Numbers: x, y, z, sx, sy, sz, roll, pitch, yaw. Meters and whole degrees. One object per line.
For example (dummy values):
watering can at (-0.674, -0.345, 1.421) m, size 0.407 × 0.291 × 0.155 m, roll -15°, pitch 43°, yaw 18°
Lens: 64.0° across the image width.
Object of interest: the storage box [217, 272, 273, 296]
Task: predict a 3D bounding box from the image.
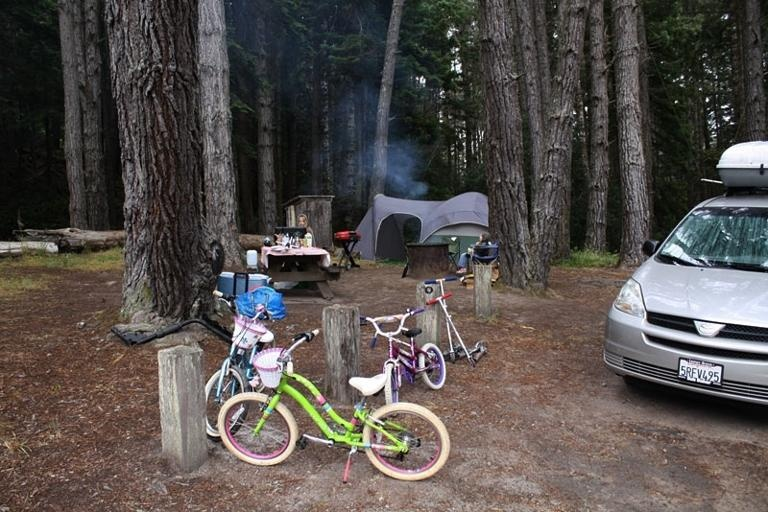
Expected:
storage box at (-2.197, 0.401, 9.409) m, size 0.577 × 0.271 × 0.487 m, roll 1°, pitch 2°, yaw 13°

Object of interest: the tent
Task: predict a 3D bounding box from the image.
tent at (1.264, -0.936, 21.306) m, size 4.967 × 2.493 × 1.630 m, roll 6°, pitch 9°, yaw 42°

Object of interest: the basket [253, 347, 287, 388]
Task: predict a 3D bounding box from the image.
basket at (-1.369, 1.339, 7.463) m, size 0.383 × 0.344 × 0.423 m, roll -1°, pitch 6°, yaw 3°

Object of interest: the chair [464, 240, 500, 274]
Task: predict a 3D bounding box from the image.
chair at (2.336, -0.128, 14.385) m, size 0.587 × 0.864 × 0.798 m, roll 1°, pitch 26°, yaw -1°

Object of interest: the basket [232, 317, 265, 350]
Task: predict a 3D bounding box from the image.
basket at (-1.692, 0.933, 7.704) m, size 0.389 × 0.311 × 0.333 m, roll 24°, pitch 6°, yaw -10°
